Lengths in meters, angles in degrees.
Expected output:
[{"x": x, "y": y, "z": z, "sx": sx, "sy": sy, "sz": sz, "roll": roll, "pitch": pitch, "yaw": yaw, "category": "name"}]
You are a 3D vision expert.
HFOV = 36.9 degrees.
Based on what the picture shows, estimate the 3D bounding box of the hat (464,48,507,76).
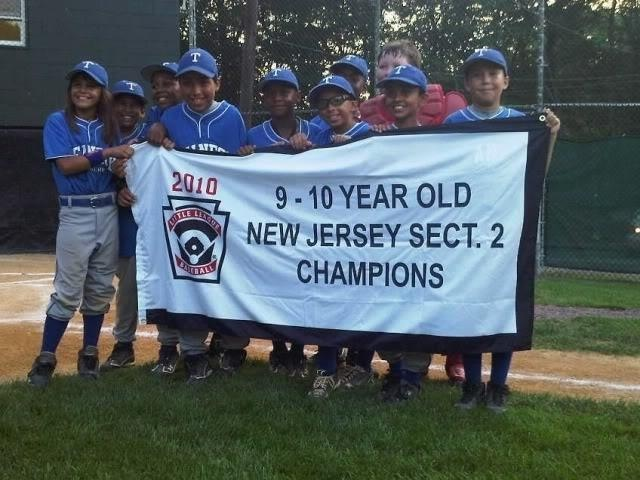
[{"x": 1.680, "y": -1.798, "z": 9.575, "sx": 0.362, "sy": 0.257, "sz": 0.577, "roll": -1, "pitch": 6, "yaw": 14, "category": "hat"}]

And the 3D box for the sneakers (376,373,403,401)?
[{"x": 0.668, "y": 1.425, "z": 9.276, "sx": 0.214, "sy": 0.370, "sz": 0.249, "roll": 5, "pitch": -10, "yaw": 0, "category": "sneakers"}]

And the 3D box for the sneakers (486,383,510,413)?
[{"x": 1.683, "y": 1.476, "z": 9.075, "sx": 0.208, "sy": 0.225, "sz": 0.268, "roll": 4, "pitch": 8, "yaw": 9, "category": "sneakers"}]

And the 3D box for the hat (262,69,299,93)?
[{"x": -0.432, "y": -1.657, "z": 9.882, "sx": 0.383, "sy": 0.221, "sz": 0.405, "roll": 2, "pitch": 8, "yaw": -4, "category": "hat"}]

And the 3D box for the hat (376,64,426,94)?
[{"x": 0.841, "y": -1.636, "z": 9.650, "sx": 0.465, "sy": 0.265, "sz": 0.352, "roll": 3, "pitch": 8, "yaw": 4, "category": "hat"}]

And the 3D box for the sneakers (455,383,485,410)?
[{"x": 1.440, "y": 1.468, "z": 9.124, "sx": 0.186, "sy": 0.213, "sz": 0.324, "roll": 8, "pitch": 10, "yaw": 32, "category": "sneakers"}]

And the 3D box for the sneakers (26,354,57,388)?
[{"x": -2.754, "y": 1.256, "z": 9.491, "sx": 0.237, "sy": 0.179, "sz": 0.461, "roll": 9, "pitch": 34, "yaw": -9, "category": "sneakers"}]

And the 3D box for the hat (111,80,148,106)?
[{"x": -2.125, "y": -1.669, "z": 10.390, "sx": 0.322, "sy": 0.224, "sz": 0.433, "roll": 10, "pitch": -6, "yaw": -30, "category": "hat"}]

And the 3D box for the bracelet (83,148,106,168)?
[{"x": -2.241, "y": -0.827, "z": 9.553, "sx": 0.165, "sy": 0.142, "sz": 0.178, "roll": 45, "pitch": 23, "yaw": 13, "category": "bracelet"}]

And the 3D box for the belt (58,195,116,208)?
[{"x": -2.350, "y": -0.403, "z": 9.641, "sx": 0.550, "sy": 0.150, "sz": 0.145, "roll": 1, "pitch": 9, "yaw": -15, "category": "belt"}]

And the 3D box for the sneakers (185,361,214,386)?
[{"x": -1.220, "y": 1.284, "z": 9.646, "sx": 0.257, "sy": 0.205, "sz": 0.406, "roll": 2, "pitch": 8, "yaw": -6, "category": "sneakers"}]

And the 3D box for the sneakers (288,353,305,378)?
[{"x": -0.229, "y": 1.287, "z": 9.895, "sx": 0.195, "sy": 0.340, "sz": 0.263, "roll": -2, "pitch": 1, "yaw": 3, "category": "sneakers"}]

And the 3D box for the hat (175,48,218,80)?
[{"x": -1.254, "y": -1.827, "z": 9.806, "sx": 0.456, "sy": 0.351, "sz": 0.617, "roll": 2, "pitch": 11, "yaw": -2, "category": "hat"}]
